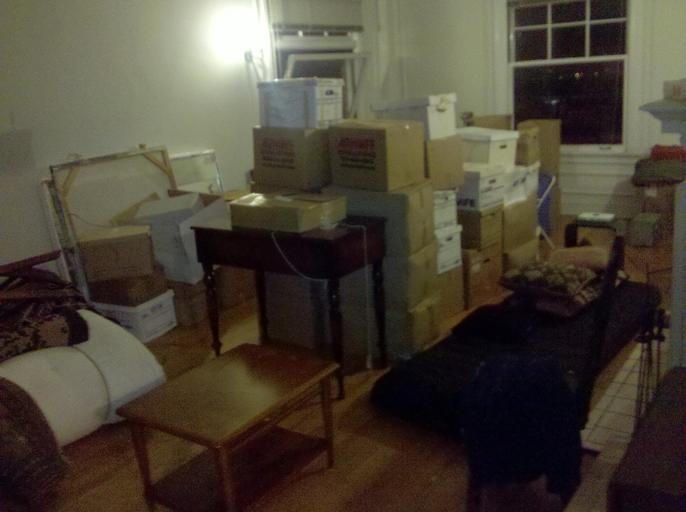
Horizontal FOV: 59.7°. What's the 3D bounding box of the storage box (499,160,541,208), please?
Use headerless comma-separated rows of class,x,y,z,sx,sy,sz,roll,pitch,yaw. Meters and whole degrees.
storage box,1.284,-0.519,4.307,0.315,0.252,0.523,7,21,36

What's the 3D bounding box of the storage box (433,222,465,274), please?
storage box,0.578,-0.035,3.597,0.273,0.249,0.172,-19,23,-41

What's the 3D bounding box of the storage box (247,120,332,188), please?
storage box,-0.299,-0.580,3.458,0.431,0.317,0.227,14,19,40

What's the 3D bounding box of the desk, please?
desk,-0.278,0.236,3.381,0.946,0.876,0.608,4,15,27

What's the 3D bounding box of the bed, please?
bed,0.885,0.441,2.907,1.501,0.503,0.623,-8,20,-11

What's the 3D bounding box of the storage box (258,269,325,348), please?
storage box,-0.304,0.383,3.890,0.328,0.612,0.655,-1,0,-12

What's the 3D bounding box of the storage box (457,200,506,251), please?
storage box,0.934,-0.199,3.934,0.261,0.308,0.454,3,12,31

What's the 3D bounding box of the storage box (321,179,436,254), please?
storage box,0.221,-0.240,3.282,0.418,0.257,0.421,3,13,27

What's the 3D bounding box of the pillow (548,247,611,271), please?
pillow,1.354,0.005,3.404,0.291,0.096,0.160,6,31,40

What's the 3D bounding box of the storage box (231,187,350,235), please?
storage box,-0.286,-0.241,3.153,0.592,0.138,0.378,5,22,25

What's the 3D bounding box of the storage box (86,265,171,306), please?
storage box,-1.434,0.166,3.853,0.471,0.137,0.452,6,18,6

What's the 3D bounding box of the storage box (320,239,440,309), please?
storage box,0.296,0.141,3.344,0.422,0.259,0.420,1,20,38

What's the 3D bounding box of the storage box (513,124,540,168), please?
storage box,1.428,-0.889,4.702,0.258,0.310,0.233,0,26,2

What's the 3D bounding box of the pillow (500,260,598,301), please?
pillow,1.074,0.122,3.175,0.275,0.080,0.270,2,16,33

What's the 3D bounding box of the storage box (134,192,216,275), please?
storage box,-1.041,-0.072,4.011,0.467,0.426,0.464,1,8,3

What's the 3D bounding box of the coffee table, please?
coffee table,-0.490,0.563,2.458,0.651,0.612,0.826,7,22,34

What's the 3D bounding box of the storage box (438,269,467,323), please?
storage box,0.623,0.232,3.789,0.177,0.289,0.312,0,-3,-18

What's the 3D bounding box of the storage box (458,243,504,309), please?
storage box,0.831,0.107,3.934,0.268,0.374,0.474,5,13,40

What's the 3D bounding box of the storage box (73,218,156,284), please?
storage box,-1.367,0.030,3.824,0.448,0.267,0.267,-7,-5,16

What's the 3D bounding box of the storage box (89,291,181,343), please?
storage box,-1.349,0.381,3.899,0.479,0.228,0.473,-17,20,-38

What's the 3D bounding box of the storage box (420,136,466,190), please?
storage box,0.581,-0.565,3.617,0.352,0.320,0.117,-20,22,-40

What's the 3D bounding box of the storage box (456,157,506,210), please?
storage box,0.903,-0.451,3.907,0.230,0.259,0.337,7,23,27

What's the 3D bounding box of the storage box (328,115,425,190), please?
storage box,0.206,-0.563,3.285,0.561,0.318,0.511,-3,17,-3

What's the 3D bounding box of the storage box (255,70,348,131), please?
storage box,-0.245,-0.908,3.554,0.404,0.245,0.400,5,17,22
